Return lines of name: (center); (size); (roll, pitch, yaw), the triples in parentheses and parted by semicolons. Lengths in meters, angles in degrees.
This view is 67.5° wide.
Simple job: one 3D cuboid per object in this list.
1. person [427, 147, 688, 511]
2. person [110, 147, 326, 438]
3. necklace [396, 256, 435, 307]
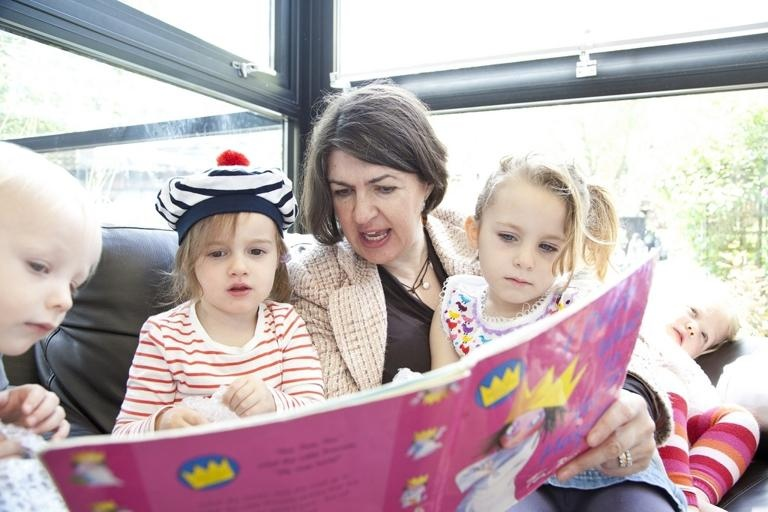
person: (0.567, 0.172, 1.744); (0.685, 1.027, 0.857); (-7, 1, 4)
person: (-0.400, 0.167, 1.480); (0.478, 0.837, 0.520); (-3, -1, 41)
necklace: (0.100, 0.069, 1.805); (0.103, 0.051, 0.139); (-26, 59, -15)
